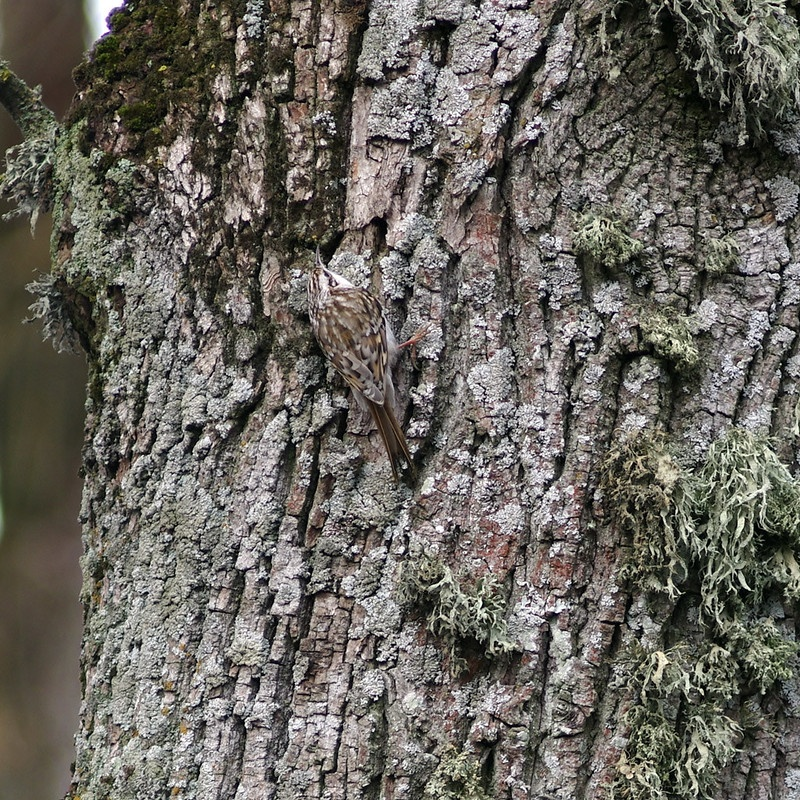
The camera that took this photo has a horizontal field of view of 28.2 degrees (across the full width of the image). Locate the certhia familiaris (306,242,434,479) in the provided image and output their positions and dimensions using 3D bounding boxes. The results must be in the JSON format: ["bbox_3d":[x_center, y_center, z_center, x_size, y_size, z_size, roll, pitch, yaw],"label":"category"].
[{"bbox_3d":[-0.138,-0.161,5.254,0.269,0.327,0.975,-16,94,-17],"label":"certhia familiaris"}]
